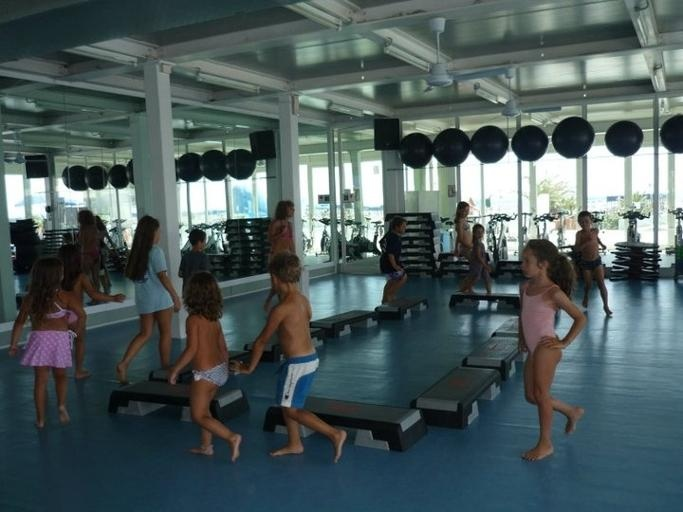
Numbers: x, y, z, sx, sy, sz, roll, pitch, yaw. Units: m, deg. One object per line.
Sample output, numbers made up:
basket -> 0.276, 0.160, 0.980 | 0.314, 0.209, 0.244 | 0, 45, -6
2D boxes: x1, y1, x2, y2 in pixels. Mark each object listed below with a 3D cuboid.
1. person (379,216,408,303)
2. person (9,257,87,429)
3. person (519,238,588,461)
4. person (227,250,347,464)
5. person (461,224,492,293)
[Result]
person -> 0.920, 0.070, 9.512 | 0.456, 1.559, 0.912 | -2, 8, 5
person -> -2.854, 0.788, 5.257 | 0.634, 1.621, 0.913 | -6, 9, -26
person -> 1.663, 0.730, 4.250 | 0.469, 1.718, 0.484 | 0, 9, 18
person -> -0.396, 0.829, 4.220 | 0.796, 1.690, 0.400 | -4, 8, -8
person -> 2.486, 0.052, 9.749 | 0.489, 1.316, 0.703 | -2, 8, 2
